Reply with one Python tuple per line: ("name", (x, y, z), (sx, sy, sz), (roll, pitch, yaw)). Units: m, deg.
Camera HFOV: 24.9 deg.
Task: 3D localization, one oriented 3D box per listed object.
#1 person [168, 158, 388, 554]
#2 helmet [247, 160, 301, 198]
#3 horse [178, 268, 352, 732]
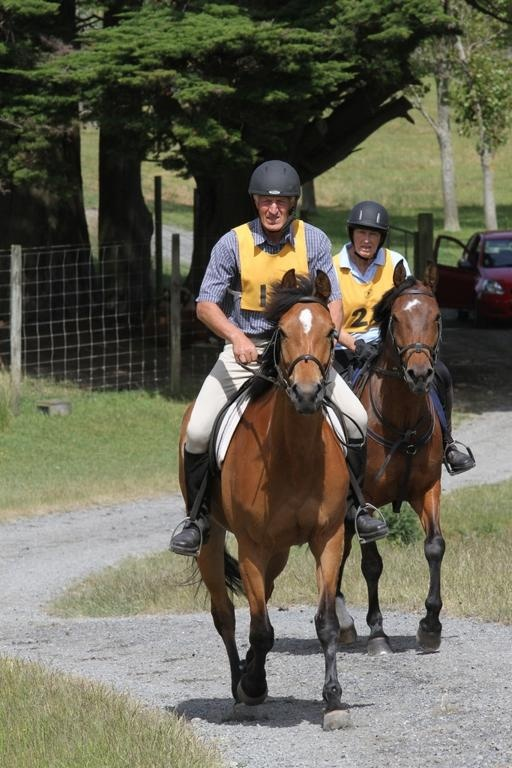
("person", (0.047, -0.181, 6.491), (1.144, 2.128, 1.005), (-4, 11, -14))
("helmet", (0.096, -1.098, 6.229), (0.199, 0.191, 0.261), (4, 5, -2))
("horse", (0.058, 0.756, 6.424), (0.767, 2.223, 3.001), (-1, -9, -9))
